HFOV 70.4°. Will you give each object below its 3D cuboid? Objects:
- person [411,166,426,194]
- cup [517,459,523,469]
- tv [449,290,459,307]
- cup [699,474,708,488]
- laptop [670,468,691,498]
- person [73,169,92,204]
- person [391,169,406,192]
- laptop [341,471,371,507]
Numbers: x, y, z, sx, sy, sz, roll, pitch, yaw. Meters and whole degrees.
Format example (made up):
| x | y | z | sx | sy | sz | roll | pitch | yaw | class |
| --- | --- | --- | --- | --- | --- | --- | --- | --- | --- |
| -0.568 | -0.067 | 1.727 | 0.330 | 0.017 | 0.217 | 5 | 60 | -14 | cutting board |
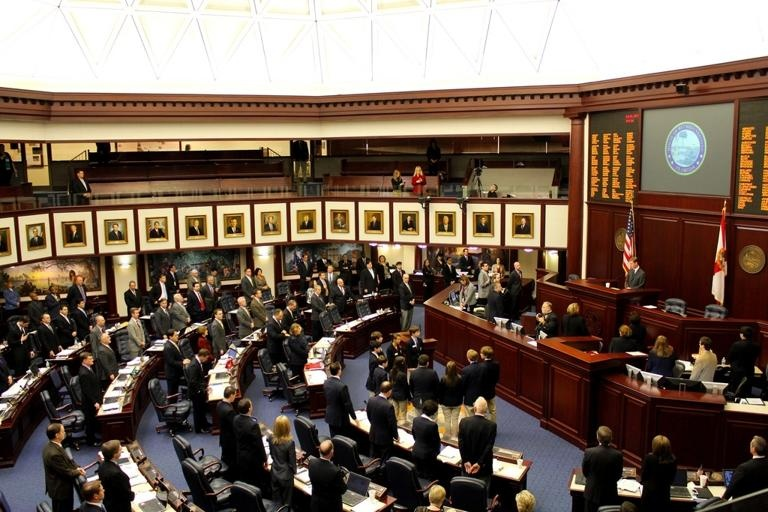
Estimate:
| x | y | z | sx | sy | sz | roll | pitch | yaw | class |
| --- | --- | --- | --- | --- | --- | --- | --- | --- | --- |
| 1.669 | -3.520 | 25.854 | 0.644 | 1.387 | 0.929 | -2 | 1 | 3 | person |
| 3.166 | 4.829 | 12.631 | 0.125 | 0.148 | 0.128 | 3 | 9 | 0 | cup |
| 2.824 | 1.669 | 21.519 | 0.440 | 0.607 | 0.622 | 0 | 1 | 32 | tv |
| 6.878 | 4.878 | 11.784 | 0.209 | 0.198 | 0.188 | 3 | 3 | 20 | cup |
| 6.345 | 4.869 | 11.674 | 0.385 | 0.413 | 0.761 | -1 | 1 | 29 | laptop |
| -13.243 | -3.046 | 24.025 | 0.719 | 1.109 | 0.863 | -3 | 2 | -29 | person |
| 0.699 | -3.604 | 26.249 | 0.620 | 1.011 | 0.377 | -2 | 2 | 1 | person |
| -0.584 | 5.025 | 11.700 | 0.477 | 0.332 | 0.503 | 10 | 6 | 27 | laptop |
